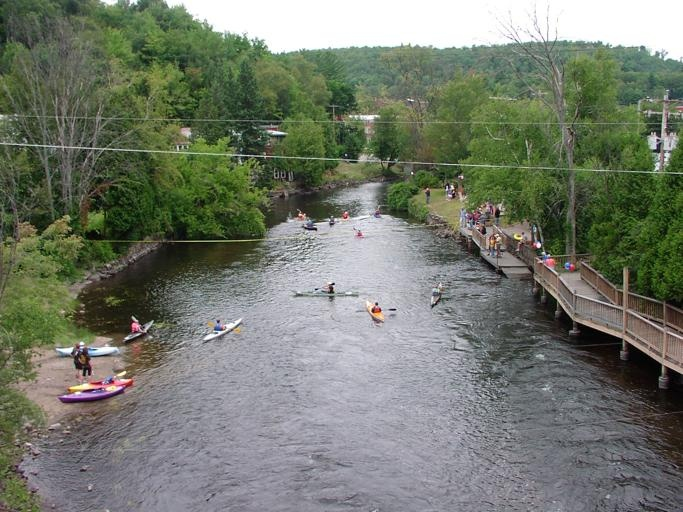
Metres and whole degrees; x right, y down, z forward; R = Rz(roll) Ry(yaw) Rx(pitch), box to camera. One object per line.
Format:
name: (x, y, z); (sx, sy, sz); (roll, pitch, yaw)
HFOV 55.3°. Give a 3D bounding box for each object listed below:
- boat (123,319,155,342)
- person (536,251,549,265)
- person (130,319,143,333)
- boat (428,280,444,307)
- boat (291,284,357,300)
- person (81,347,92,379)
boat: (-15.667, 5.842, 50.809); (0.692, 0.432, 2.855); (21, 23, 10)
person: (17.461, 0.013, 56.390); (1.197, 0.677, 1.819); (1, 7, 10)
person: (-16.098, 5.517, 51.017); (0.845, 0.480, 1.170); (1, 26, -24)
boat: (8.302, 3.299, 56.787); (0.722, 0.504, 3.599); (0, 29, 20)
boat: (-1.523, 3.233, 58.583); (4.337, 1.191, 0.988); (3, 7, 0)
person: (-17.304, 7.201, 43.992); (0.562, 2.412, 0.855); (-8, 13, -20)
